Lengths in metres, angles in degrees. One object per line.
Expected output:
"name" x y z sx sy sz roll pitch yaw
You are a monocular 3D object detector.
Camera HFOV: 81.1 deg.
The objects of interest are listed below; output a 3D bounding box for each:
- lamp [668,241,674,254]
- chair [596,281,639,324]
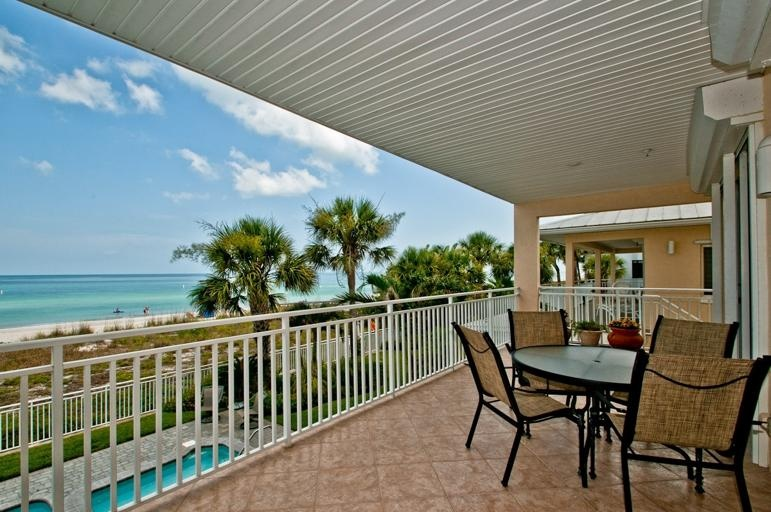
"lamp" 6.159 -0.186 9.813 0.138 0.306 0.128 2 15 11
"chair" 5.038 1.032 9.914 0.863 1.234 0.899 -5 -11 38
